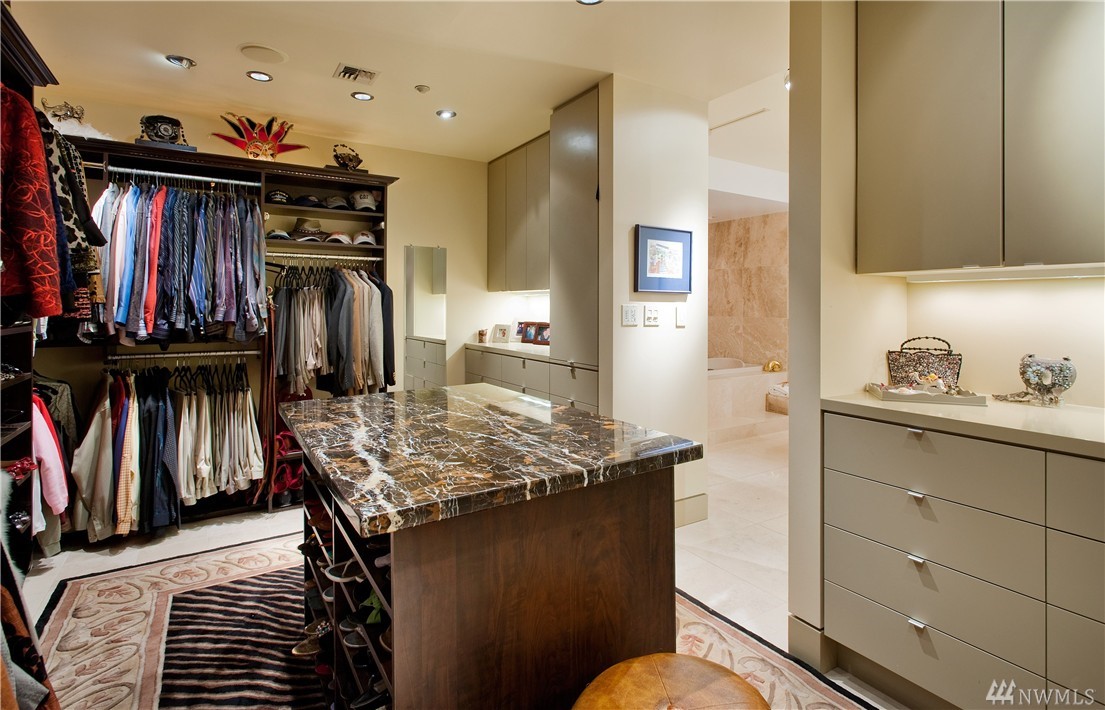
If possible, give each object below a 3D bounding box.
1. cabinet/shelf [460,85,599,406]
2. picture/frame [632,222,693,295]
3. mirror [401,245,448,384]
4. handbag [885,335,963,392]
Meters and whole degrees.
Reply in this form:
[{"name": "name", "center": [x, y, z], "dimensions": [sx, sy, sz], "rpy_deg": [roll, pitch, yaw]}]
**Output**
[{"name": "cabinet/shelf", "center": [-0.172, -0.871, 5.552], "dimensions": [0.606, 2.040, 2.055], "rpy_deg": [0, 2, -27]}, {"name": "picture/frame", "center": [0.726, -0.633, 4.912], "dimensions": [0.472, 0.426, 0.044], "rpy_deg": [-1, 3, -34]}, {"name": "mirror", "center": [-1.139, -0.310, 6.417], "dimensions": [0.437, 1.285, 0.385], "rpy_deg": [-3, 14, -10]}, {"name": "handbag", "center": [1.822, 0.053, 3.558], "dimensions": [0.341, 0.307, 0.252], "rpy_deg": [-3, -4, 43]}]
